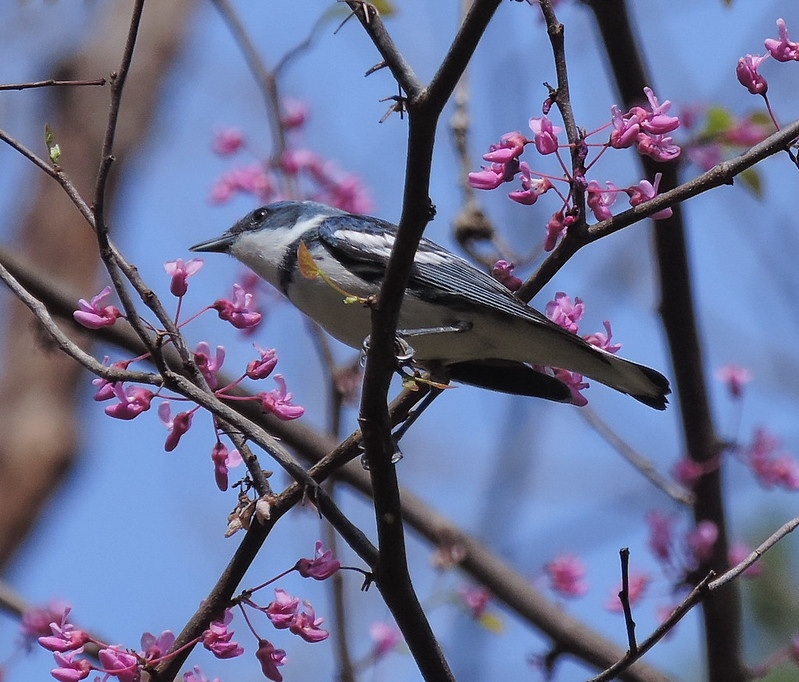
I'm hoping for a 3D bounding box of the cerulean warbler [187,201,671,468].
[{"bbox_3d":[0.152,-0.129,5.692,2.218,1.079,0.666,6,-43,-2],"label":"cerulean warbler"}]
